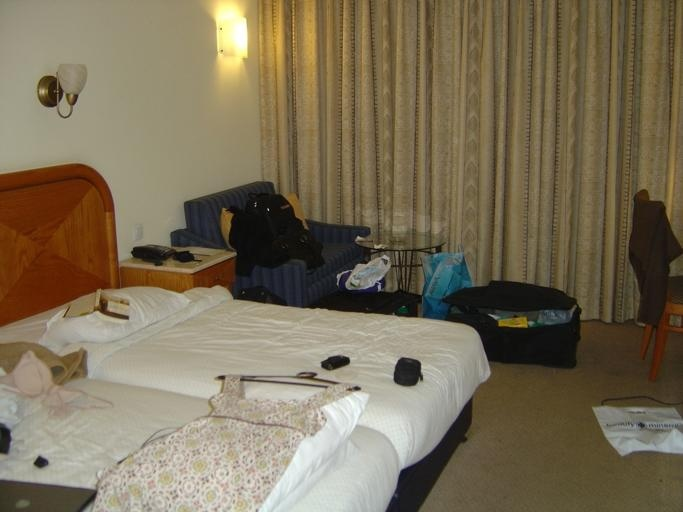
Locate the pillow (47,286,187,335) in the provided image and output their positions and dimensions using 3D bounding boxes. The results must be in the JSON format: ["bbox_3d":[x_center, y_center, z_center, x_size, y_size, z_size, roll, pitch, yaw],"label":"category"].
[{"bbox_3d":[-1.164,0.313,3.055,0.328,0.096,0.376,3,11,13],"label":"pillow"}]

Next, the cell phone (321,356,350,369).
[{"bbox_3d":[-0.036,0.491,2.622,0.092,0.031,0.066,-10,16,-40],"label":"cell phone"}]

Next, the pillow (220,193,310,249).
[{"bbox_3d":[-0.637,-0.264,4.469,0.434,0.410,0.126,-15,-12,-22],"label":"pillow"}]

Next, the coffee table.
[{"bbox_3d":[0.475,0.136,4.859,0.674,0.636,0.628,-2,18,-2],"label":"coffee table"}]

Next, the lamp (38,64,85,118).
[{"bbox_3d":[-1.574,-0.962,3.336,0.263,0.304,0.293,6,13,12],"label":"lamp"}]

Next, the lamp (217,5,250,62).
[{"bbox_3d":[-0.894,-1.878,4.760,0.192,0.425,0.368,6,13,12],"label":"lamp"}]
